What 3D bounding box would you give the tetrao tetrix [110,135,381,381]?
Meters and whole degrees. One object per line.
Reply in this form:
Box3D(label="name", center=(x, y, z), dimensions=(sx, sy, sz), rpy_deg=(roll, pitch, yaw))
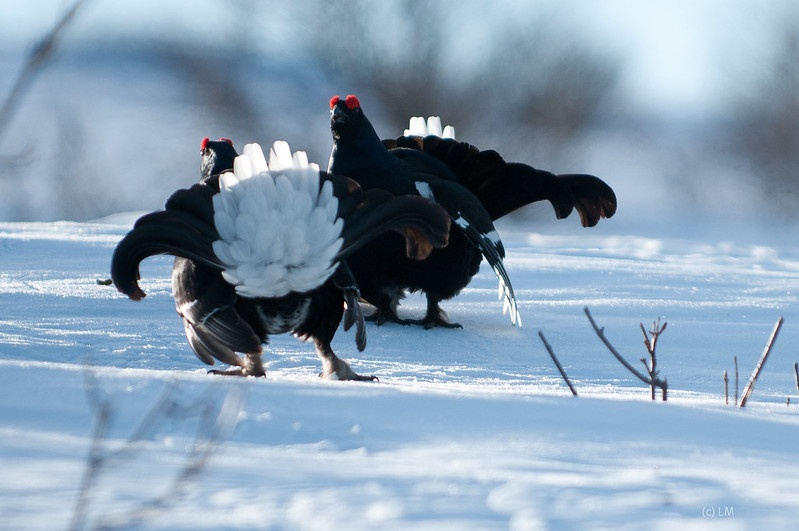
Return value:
Box3D(label="tetrao tetrix", center=(-1.000, -0.012, 8.392), dimensions=(1.576, 1.656, 0.780), rpy_deg=(3, 9, -5))
